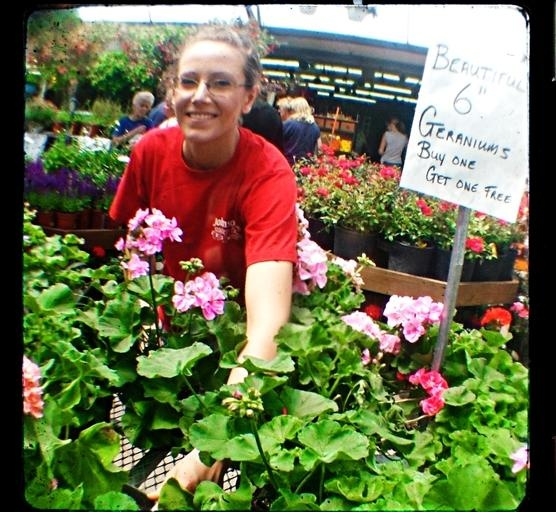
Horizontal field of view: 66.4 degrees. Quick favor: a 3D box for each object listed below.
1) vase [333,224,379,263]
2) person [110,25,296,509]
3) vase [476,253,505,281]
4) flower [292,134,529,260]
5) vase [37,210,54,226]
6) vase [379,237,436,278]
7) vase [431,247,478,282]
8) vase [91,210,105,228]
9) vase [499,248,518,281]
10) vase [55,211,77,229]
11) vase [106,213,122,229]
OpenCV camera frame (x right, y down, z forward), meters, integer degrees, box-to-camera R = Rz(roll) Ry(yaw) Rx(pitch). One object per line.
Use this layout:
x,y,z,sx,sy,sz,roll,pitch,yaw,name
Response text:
0.301,-0.044,1.660,0.128,0.148,0.150,11,0,9,vase
-0.179,-0.043,1.202,0.432,1.084,0.711,4,5,-35,person
0.675,0.033,1.351,0.058,0.089,0.072,9,12,33,vase
0.367,-0.164,1.437,0.656,0.272,0.605,8,5,-1,flower
-0.696,-0.111,1.267,0.045,0.048,0.046,5,5,-30,vase
0.484,0.013,1.578,0.124,0.107,0.140,19,9,42,vase
0.625,0.016,1.499,0.122,0.103,0.114,10,9,22,vase
-0.584,-0.118,1.376,0.039,0.063,0.054,5,5,-22,vase
0.684,0.027,1.260,0.030,0.096,0.079,7,4,-4,vase
-0.648,-0.108,1.296,0.050,0.042,0.053,4,2,-3,vase
-0.548,-0.120,1.425,0.040,0.044,0.040,16,22,24,vase
